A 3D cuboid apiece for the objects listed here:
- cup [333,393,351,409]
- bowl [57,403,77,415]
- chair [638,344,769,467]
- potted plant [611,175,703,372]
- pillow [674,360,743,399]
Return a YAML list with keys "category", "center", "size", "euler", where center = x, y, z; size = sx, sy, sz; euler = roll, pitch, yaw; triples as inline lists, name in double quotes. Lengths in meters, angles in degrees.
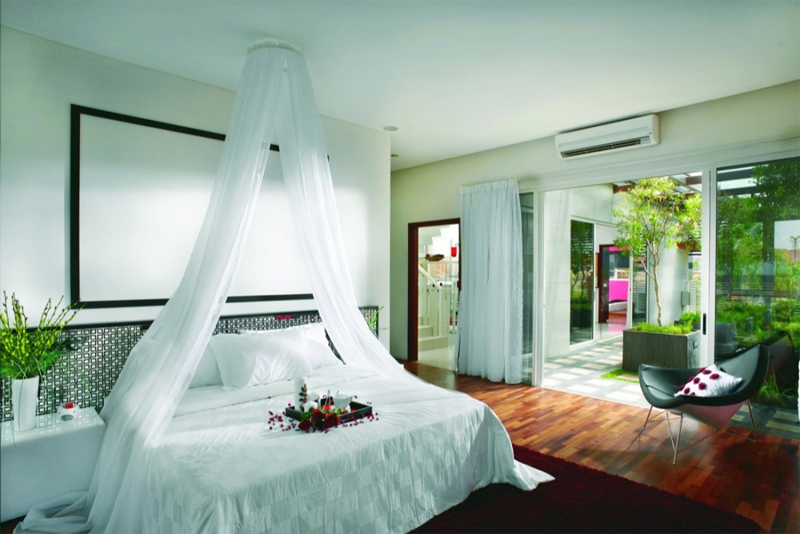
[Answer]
- category: "cup"
  center: [-0.473, 1.082, 4.496]
  size: [0.115, 0.085, 0.111]
  euler: [-1, -5, 0]
- category: "bowl"
  center: [-2.852, 1.205, 4.763]
  size: [0.110, 0.060, 0.109]
  euler: [3, -5, 0]
- category: "chair"
  center: [2.999, 1.256, 5.394]
  size: [1.105, 0.992, 0.998]
  euler: [-4, 5, 18]
- category: "potted plant"
  center: [3.596, 0.108, 7.791]
  size: [0.979, 2.610, 1.856]
  euler: [-3, 0, -5]
- category: "pillow"
  center: [3.030, 1.098, 5.380]
  size: [0.548, 0.153, 0.426]
  euler: [-3, 0, 16]
